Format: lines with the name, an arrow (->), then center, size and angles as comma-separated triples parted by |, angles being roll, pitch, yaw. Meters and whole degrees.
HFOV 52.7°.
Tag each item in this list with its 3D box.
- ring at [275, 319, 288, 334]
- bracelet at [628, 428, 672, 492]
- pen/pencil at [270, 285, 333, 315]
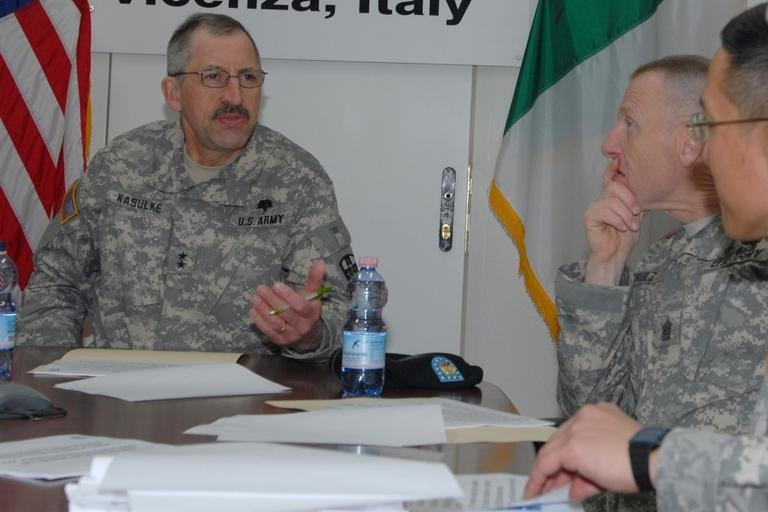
ring -> -0.297, 0.208, 2.252 | 0.012, 0.034, 0.035 | 12, 23, 11
bracelet -> 0.519, 0.401, 1.550 | 0.074, 0.134, 0.124 | -5, -15, 34
pen/pencil -> -0.243, 0.133, 2.262 | 0.171, 0.029, 0.026 | -35, -6, -8
